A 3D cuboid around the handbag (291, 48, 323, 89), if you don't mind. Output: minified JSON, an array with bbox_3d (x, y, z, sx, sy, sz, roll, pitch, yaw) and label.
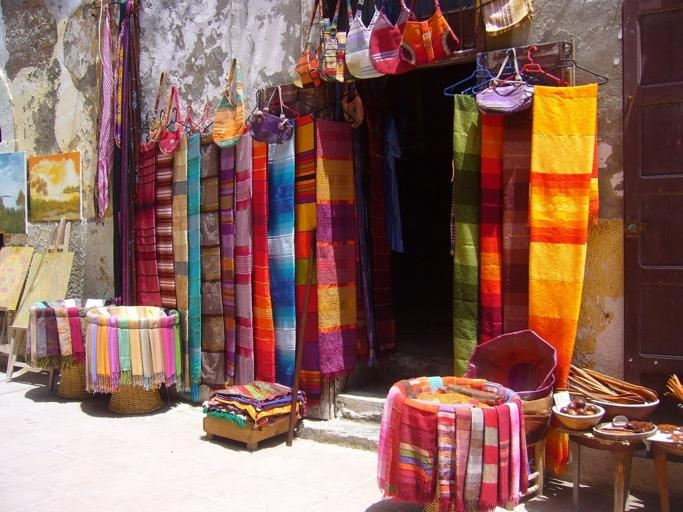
[{"bbox_3d":[-0.295,-1.616,5.097,0.178,0.368,0.258,-1,8,-39],"label":"handbag"}]

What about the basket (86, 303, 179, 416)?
[{"bbox_3d":[-2.097,1.066,5.966,0.802,0.989,0.865,-1,-3,23],"label":"basket"}]

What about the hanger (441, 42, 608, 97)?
[{"bbox_3d":[1.336,-1.385,4.288,0.687,0.320,0.152,2,6,22],"label":"hanger"}]

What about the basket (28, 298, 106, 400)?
[{"bbox_3d":[-2.899,0.997,6.363,0.764,0.896,0.707,-5,-1,-25],"label":"basket"}]

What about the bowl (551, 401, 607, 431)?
[{"bbox_3d":[1.566,1.048,3.831,0.344,0.179,0.239,0,5,8],"label":"bowl"}]

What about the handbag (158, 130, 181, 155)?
[{"bbox_3d":[-1.777,-1.176,6.161,0.202,0.301,0.086,19,-3,23],"label":"handbag"}]

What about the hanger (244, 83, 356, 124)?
[{"bbox_3d":[-0.225,-1.410,5.441,0.603,0.360,0.431,1,3,34],"label":"hanger"}]

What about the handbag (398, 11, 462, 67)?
[{"bbox_3d":[0.674,-1.717,4.566,0.431,0.480,0.176,-10,13,19],"label":"handbag"}]

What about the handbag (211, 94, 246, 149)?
[{"bbox_3d":[-1.090,-1.303,5.670,0.261,0.498,0.361,-2,6,-22],"label":"handbag"}]

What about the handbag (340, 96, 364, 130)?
[{"bbox_3d":[0.107,-1.316,5.432,0.184,0.268,0.091,-11,6,-5],"label":"handbag"}]

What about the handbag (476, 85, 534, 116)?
[{"bbox_3d":[1.183,-1.137,4.240,0.393,0.216,0.116,1,6,14],"label":"handbag"}]

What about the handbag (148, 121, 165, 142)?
[{"bbox_3d":[-1.980,-1.325,6.268,0.049,0.221,0.210,18,15,-32],"label":"handbag"}]
